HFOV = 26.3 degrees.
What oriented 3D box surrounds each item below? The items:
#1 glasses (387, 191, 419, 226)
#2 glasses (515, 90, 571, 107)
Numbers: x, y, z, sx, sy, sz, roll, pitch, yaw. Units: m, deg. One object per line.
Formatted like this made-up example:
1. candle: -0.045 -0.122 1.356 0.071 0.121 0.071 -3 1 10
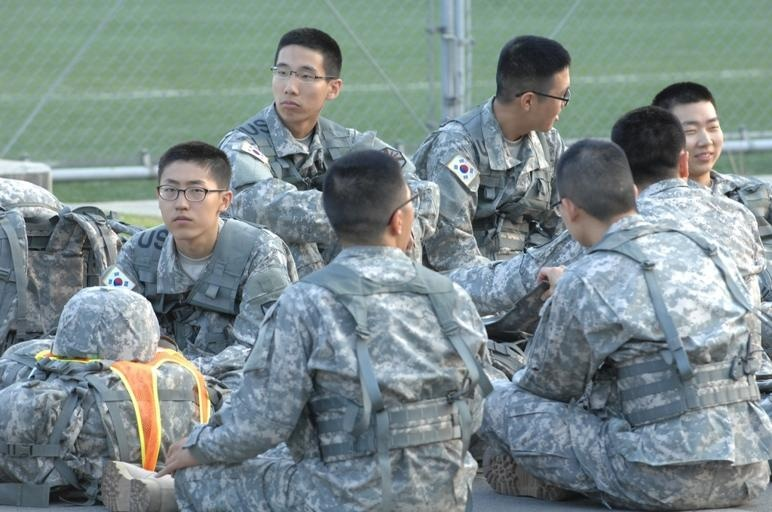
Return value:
1. glasses: 0.084 -0.269 9.235 0.070 0.235 0.231 16 22 31
2. glasses: 1.114 -1.107 11.408 0.196 0.053 0.161 9 -5 -17
